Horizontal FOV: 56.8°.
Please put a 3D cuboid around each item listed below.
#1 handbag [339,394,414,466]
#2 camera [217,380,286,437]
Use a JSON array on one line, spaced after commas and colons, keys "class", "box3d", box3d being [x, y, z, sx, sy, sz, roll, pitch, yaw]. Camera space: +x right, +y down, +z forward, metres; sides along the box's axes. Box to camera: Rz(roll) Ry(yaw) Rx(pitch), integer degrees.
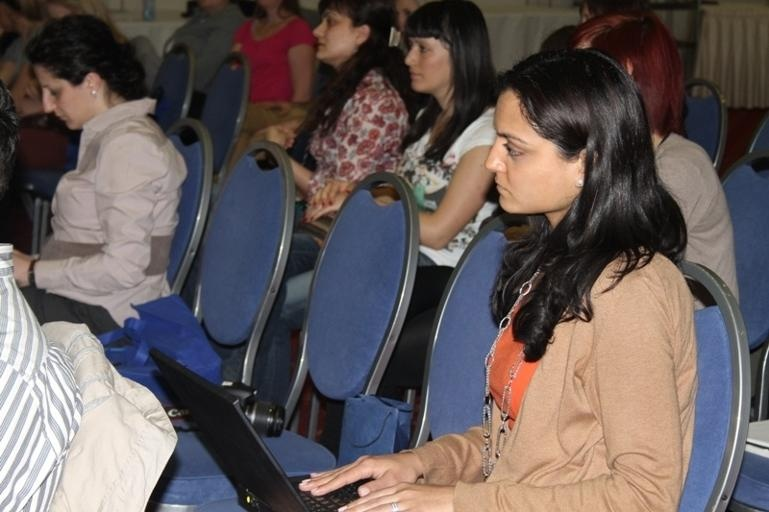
[{"class": "handbag", "box3d": [-0.023, 0.455, 1.833, 0.155, 0.180, 0.087, -1, -9, 34]}, {"class": "camera", "box3d": [-0.356, 0.418, 1.893, 0.175, 0.128, 0.179, 9, 6, 5]}]
